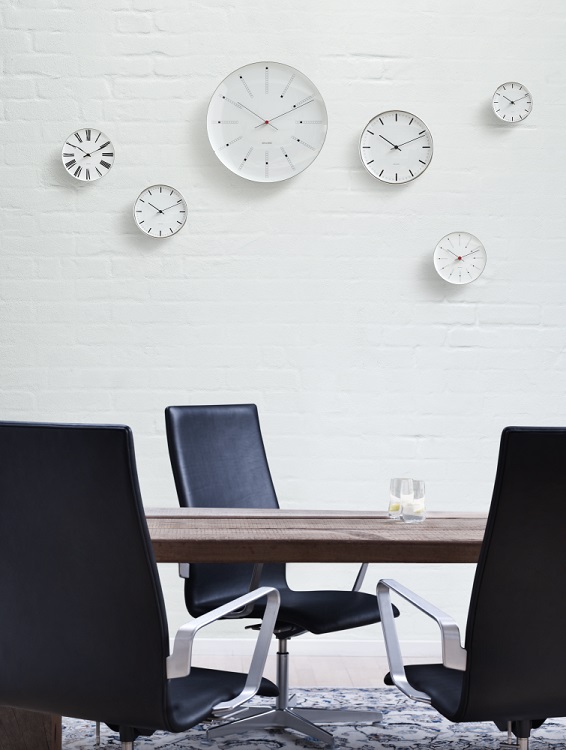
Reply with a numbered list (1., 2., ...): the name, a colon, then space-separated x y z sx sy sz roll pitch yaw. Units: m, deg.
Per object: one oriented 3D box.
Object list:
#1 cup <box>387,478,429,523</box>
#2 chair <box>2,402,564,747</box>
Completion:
1. cup: 0.323 0.326 2.693 0.074 0.115 0.120 2 1 -15
2. chair: -0.031 0.529 2.602 1.196 0.887 0.976 1 2 15
